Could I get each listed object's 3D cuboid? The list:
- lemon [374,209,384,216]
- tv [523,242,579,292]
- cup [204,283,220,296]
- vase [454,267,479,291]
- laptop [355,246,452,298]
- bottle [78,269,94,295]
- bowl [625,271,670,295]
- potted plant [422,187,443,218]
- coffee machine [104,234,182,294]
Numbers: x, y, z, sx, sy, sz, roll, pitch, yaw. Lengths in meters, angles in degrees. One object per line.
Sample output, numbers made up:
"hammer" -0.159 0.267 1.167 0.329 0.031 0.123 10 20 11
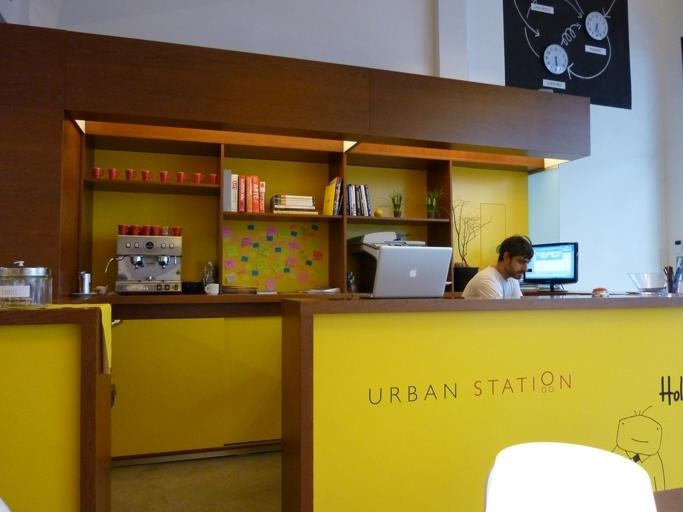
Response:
"lemon" 0.325 -0.375 5.458 0.071 0.073 0.070 -14 12 -29
"tv" 1.854 0.088 5.629 0.147 0.440 0.442 0 2 -38
"cup" -0.977 0.252 4.769 0.105 0.079 0.069 0 0 -10
"vase" 1.091 0.201 5.513 0.195 0.202 0.204 1 1 13
"laptop" 0.370 0.085 3.650 0.396 0.263 0.303 2 -1 -14
"bottle" -1.814 0.192 4.481 0.075 0.168 0.271 1 -3 -25
"bowl" 2.095 0.186 4.251 0.244 0.141 0.373 -1 -2 16
"potted plant" 0.815 -0.467 5.574 0.198 0.312 0.215 2 2 25
"coffee machine" -1.421 0.059 4.675 0.675 0.555 0.372 0 -5 -11
